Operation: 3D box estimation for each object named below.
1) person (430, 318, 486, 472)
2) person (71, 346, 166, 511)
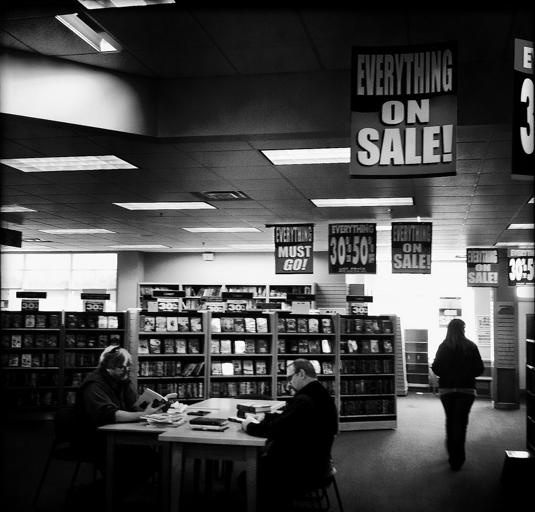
[{"bbox_3d":[2.476,1.774,7.204,0.647,1.899,0.323,-1,-6,17],"label":"person"},{"bbox_3d":[-1.370,1.535,5.019,0.717,1.383,0.622,2,-2,6],"label":"person"}]
